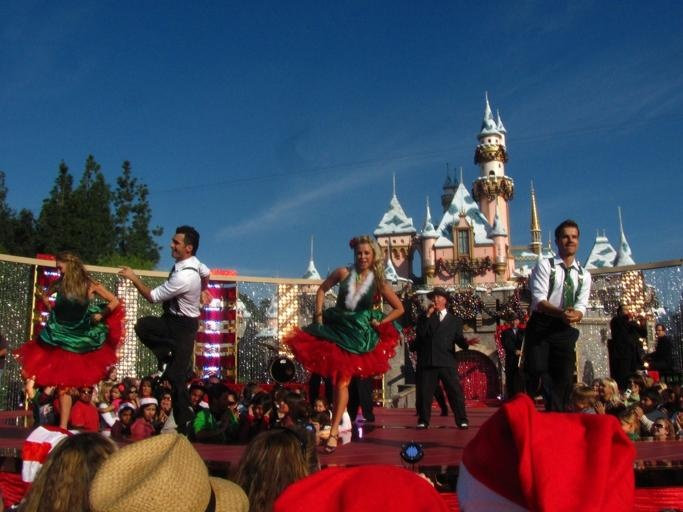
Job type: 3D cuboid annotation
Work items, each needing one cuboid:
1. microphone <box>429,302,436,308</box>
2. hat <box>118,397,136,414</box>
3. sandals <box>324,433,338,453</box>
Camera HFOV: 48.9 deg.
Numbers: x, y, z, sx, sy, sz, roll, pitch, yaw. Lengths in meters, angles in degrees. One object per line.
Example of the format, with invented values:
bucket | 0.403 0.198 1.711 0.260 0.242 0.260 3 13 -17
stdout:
microphone | 1.203 0.644 9.743 0.019 0.061 0.055 18 -20 -40
hat | -2.962 2.083 10.438 0.161 0.208 0.230 2 -29 -12
sandals | -0.089 1.786 7.157 0.148 0.125 0.445 -2 -14 2
